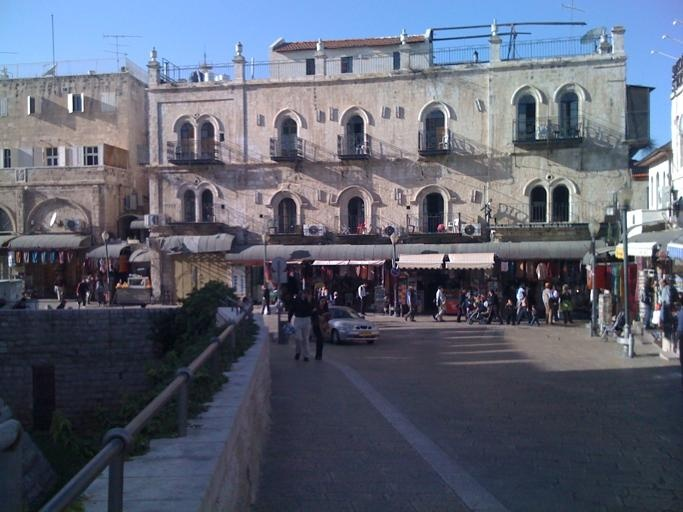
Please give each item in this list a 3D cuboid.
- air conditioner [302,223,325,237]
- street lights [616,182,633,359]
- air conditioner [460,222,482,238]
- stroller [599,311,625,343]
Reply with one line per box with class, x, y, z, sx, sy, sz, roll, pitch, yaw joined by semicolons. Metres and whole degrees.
air conditioner;-1.603;-1.435;58.969;1.231;0.533;0.613;-2;-1;11
street lights;11.055;0.980;40.750;0.860;7.485;0.679;1;6;38
air conditioner;7.006;-1.421;56.789;0.757;0.832;0.264;4;1;19
stroller;11.468;2.944;44.376;1.094;1.581;0.921;-2;1;3
